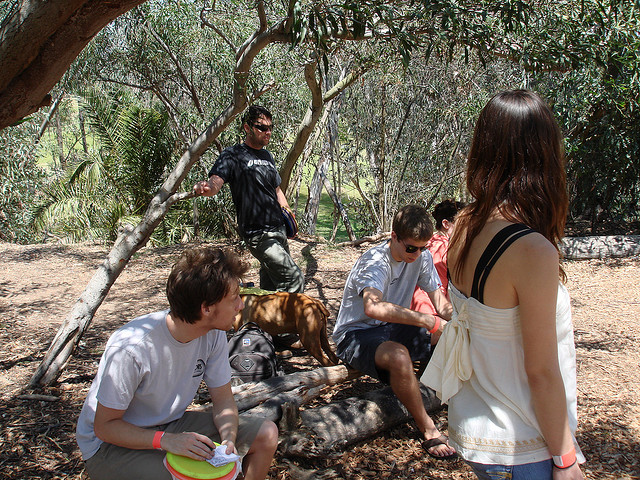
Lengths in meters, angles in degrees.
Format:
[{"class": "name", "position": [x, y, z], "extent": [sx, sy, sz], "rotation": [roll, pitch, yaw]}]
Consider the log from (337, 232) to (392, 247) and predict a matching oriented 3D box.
[{"class": "log", "position": [1.044, -0.011, 11.587], "extent": [1.424, 0.364, 0.368], "rotation": [2, 1, -26]}]

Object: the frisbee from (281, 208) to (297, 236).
[{"class": "frisbee", "position": [-0.351, -0.220, 5.706], "extent": [0.052, 0.242, 0.219], "rotation": [-31, 38, -18]}]

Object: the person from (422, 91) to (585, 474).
[{"class": "person", "position": [0.839, 0.198, 2.134], "extent": [0.659, 1.746, 0.333], "rotation": [3, 2, 32]}]

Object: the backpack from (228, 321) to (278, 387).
[{"class": "backpack", "position": [-0.630, 1.121, 4.448], "extent": [0.432, 0.725, 0.678], "rotation": [-4, -8, 10]}]

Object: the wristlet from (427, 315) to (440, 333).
[{"class": "wristlet", "position": [0.943, 0.685, 3.848], "extent": [0.118, 0.135, 0.087], "rotation": [-17, -11, 41]}]

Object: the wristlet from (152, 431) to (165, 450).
[{"class": "wristlet", "position": [-0.851, 1.067, 2.527], "extent": [0.020, 0.083, 0.074], "rotation": [4, 33, -6]}]

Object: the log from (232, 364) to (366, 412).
[{"class": "log", "position": [-0.187, 1.206, 3.886], "extent": [1.027, 0.166, 0.157], "rotation": [-12, 13, -30]}]

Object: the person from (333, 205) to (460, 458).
[{"class": "person", "position": [0.779, 0.642, 3.993], "extent": [0.975, 1.850, 1.338], "rotation": [-6, 10, -18]}]

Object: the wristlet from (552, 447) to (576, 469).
[{"class": "wristlet", "position": [1.033, 0.921, 2.002], "extent": [0.070, 0.053, 0.078], "rotation": [-24, -9, 21]}]

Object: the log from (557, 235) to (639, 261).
[{"class": "log", "position": [5.806, 0.174, 9.905], "extent": [1.477, 0.374, 0.616], "rotation": [3, 1, 14]}]

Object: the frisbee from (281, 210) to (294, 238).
[{"class": "frisbee", "position": [-0.348, -0.187, 5.684], "extent": [0.050, 0.248, 0.231], "rotation": [-15, 37, -7]}]

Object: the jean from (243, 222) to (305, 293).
[{"class": "jean", "position": [-0.500, 0.199, 5.437], "extent": [0.565, 0.814, 0.866], "rotation": [1, 2, -36]}]
